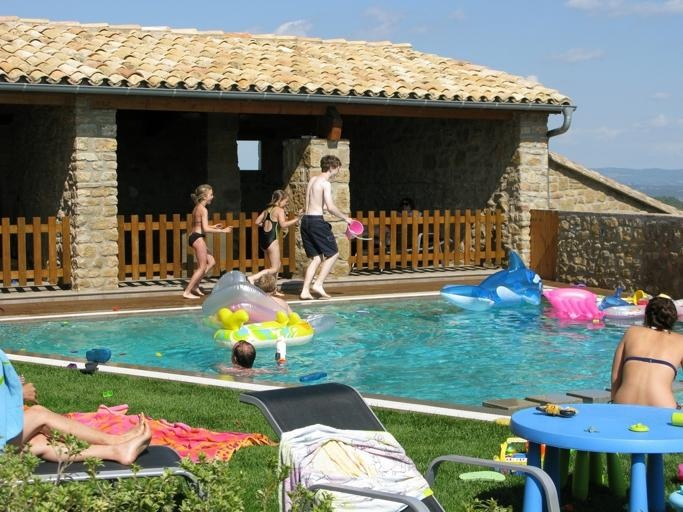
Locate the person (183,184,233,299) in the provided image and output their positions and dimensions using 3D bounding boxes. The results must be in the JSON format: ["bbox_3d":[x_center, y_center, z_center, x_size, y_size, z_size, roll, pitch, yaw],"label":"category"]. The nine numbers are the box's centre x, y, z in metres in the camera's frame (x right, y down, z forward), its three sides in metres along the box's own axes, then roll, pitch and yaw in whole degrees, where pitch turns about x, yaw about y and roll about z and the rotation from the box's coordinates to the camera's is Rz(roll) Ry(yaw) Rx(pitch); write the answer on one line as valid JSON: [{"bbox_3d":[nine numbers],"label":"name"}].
[{"bbox_3d":[-2.305,-0.252,13.361,0.704,1.852,0.984,1,2,-10],"label":"person"}]

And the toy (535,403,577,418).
[{"bbox_3d":[1.440,1.020,5.266,0.159,0.065,0.107,3,0,18],"label":"toy"}]

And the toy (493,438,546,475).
[{"bbox_3d":[1.367,1.496,6.090,0.345,0.190,0.379,-1,5,-8],"label":"toy"}]

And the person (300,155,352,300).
[{"bbox_3d":[-0.330,-0.470,12.911,0.732,2.337,0.447,2,2,3],"label":"person"}]
